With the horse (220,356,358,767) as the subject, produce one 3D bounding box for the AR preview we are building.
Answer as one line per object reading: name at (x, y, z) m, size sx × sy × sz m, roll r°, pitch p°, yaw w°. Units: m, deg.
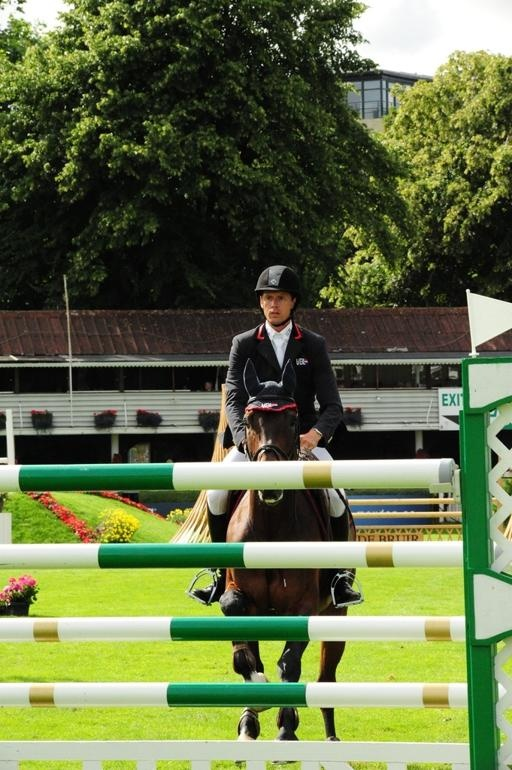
horse at (0.226, 1.121, 8.083) m, size 0.610 × 1.862 × 2.525 m, roll -7°, pitch 8°, yaw 4°
